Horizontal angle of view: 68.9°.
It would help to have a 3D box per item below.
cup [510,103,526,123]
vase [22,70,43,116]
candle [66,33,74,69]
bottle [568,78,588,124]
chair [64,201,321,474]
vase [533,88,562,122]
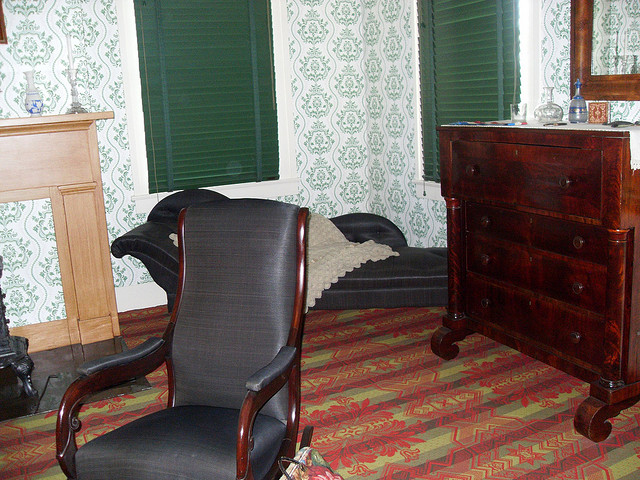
[{"bbox_3d":[1.388,-0.896,3.247,0.093,0.112,0.266,3,15,24],"label":"cup"},{"bbox_3d":[-2.252,-1.154,3.636,0.107,0.349,0.146,-12,16,-30],"label":"vase"},{"bbox_3d":[-1.997,-1.506,3.726,0.042,0.261,0.245,-10,16,-24],"label":"candle"},{"bbox_3d":[1.570,-0.845,2.821,0.104,0.254,0.276,5,16,29],"label":"bottle"},{"bbox_3d":[-0.404,0.335,2.260,0.841,1.343,1.350,2,5,18],"label":"chair"},{"bbox_3d":[1.431,-0.852,2.918,0.179,0.212,0.180,-4,17,6],"label":"vase"}]
